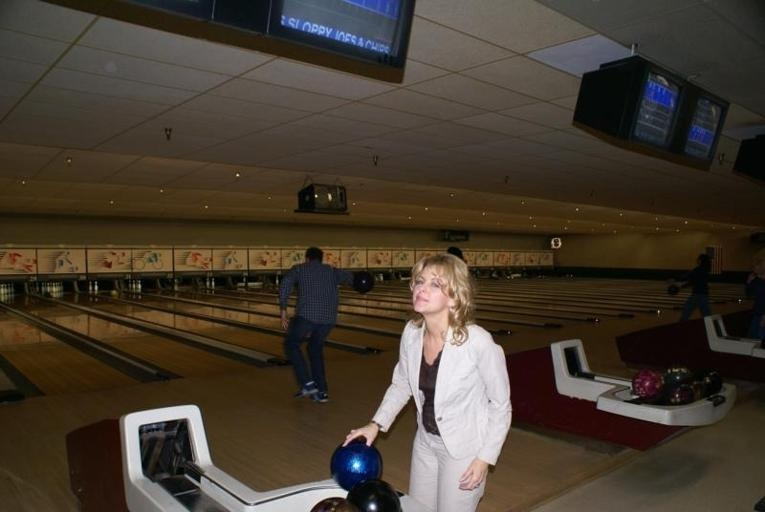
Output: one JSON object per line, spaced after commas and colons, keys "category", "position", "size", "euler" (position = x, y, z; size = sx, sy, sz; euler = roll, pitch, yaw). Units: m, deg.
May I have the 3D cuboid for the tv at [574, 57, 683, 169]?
{"category": "tv", "position": [2.057, -1.219, 3.845], "size": [0.827, 0.543, 0.431], "euler": [10, 12, -45]}

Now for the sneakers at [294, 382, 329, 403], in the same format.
{"category": "sneakers", "position": [-0.706, 1.260, 4.689], "size": [0.361, 0.144, 0.138], "euler": [10, 0, 9]}

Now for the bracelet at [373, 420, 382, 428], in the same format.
{"category": "bracelet", "position": [-0.025, 0.776, 2.295], "size": [0.041, 0.015, 0.040], "euler": [38, -9, -10]}

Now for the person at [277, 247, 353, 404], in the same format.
{"category": "person", "position": [-0.685, 0.602, 4.658], "size": [0.701, 1.495, 0.341], "euler": [-1, -1, -10]}

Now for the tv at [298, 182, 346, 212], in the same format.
{"category": "tv", "position": [-1.111, -1.134, 8.457], "size": [0.763, 0.508, 0.516], "euler": [0, -2, -25]}
